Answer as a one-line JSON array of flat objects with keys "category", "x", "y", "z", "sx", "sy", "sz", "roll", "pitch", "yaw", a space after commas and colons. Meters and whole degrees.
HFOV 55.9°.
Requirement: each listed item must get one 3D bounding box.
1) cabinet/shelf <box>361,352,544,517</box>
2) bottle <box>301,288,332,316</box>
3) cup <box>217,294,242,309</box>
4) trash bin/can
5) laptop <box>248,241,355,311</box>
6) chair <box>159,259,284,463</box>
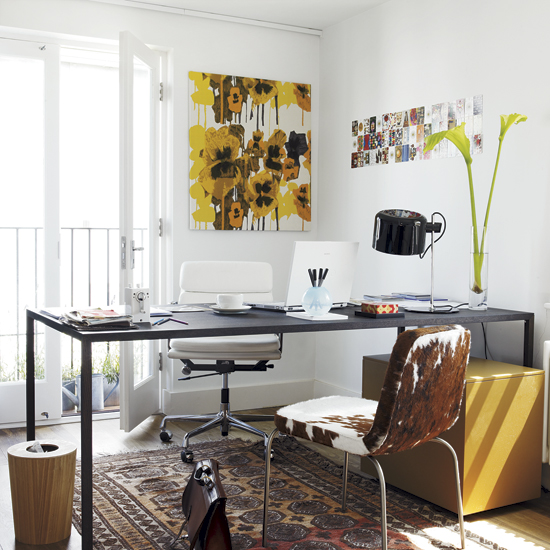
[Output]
[{"category": "cabinet/shelf", "x": 0.711, "y": 0.609, "z": 2.285, "sx": 0.494, "sy": 0.774, "sz": 0.735, "roll": -1, "pitch": 3, "yaw": -29}, {"category": "bottle", "x": 0.153, "y": 0.101, "z": 1.994, "sx": 0.089, "sy": 0.101, "sz": 0.098, "roll": -1, "pitch": 1, "yaw": 3}, {"category": "cup", "x": -0.191, "y": 0.104, "z": 2.078, "sx": 0.062, "sy": 0.044, "sz": 0.064, "roll": 0, "pitch": 0, "yaw": 0}, {"category": "trash bin/can", "x": -0.821, "y": 0.762, "z": 1.815, "sx": 0.233, "sy": 0.322, "sz": 0.200, "roll": 0, "pitch": 0, "yaw": -7}, {"category": "laptop", "x": 0.155, "y": -0.009, "z": 2.245, "sx": 0.286, "sy": 0.267, "sz": 0.319, "roll": 4, "pitch": -4, "yaw": -36}, {"category": "chair", "x": -0.283, "y": 0.425, "z": 2.867, "sx": 0.619, "sy": 1.059, "sz": 0.611, "roll": 3, "pitch": -4, "yaw": -22}]
